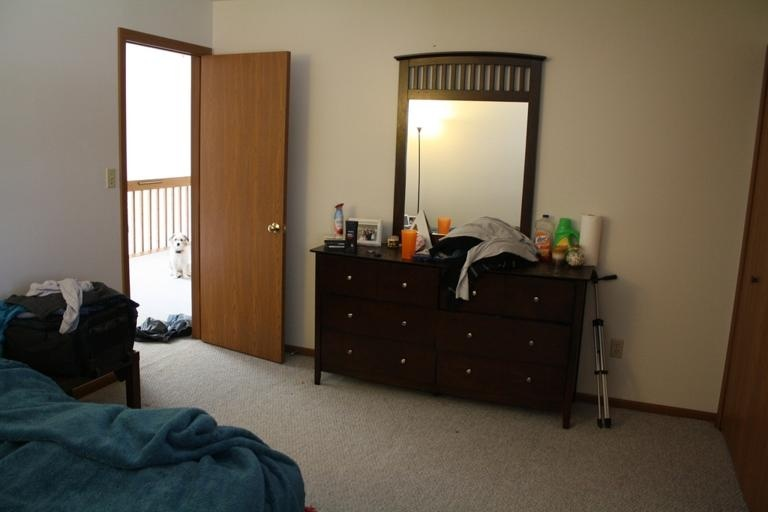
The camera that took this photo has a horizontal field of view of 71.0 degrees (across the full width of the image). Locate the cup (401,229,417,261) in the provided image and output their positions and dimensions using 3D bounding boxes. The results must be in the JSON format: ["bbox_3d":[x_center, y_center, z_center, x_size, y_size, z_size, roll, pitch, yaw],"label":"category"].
[{"bbox_3d":[0.190,-0.085,4.188,0.114,0.224,0.121,1,8,0],"label":"cup"}]

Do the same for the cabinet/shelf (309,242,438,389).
[{"bbox_3d":[-0.058,0.468,4.263,1.027,1.065,0.442,4,7,22],"label":"cabinet/shelf"}]

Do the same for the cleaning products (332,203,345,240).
[{"bbox_3d":[-0.393,-0.307,4.614,0.098,0.272,0.301,0,9,-6],"label":"cleaning products"}]

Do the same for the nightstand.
[{"bbox_3d":[-2.042,0.812,3.805,0.466,0.471,0.360,7,13,36],"label":"nightstand"}]

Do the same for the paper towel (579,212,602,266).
[{"bbox_3d":[1.595,-0.119,4.177,0.169,0.389,0.118,4,9,22],"label":"paper towel"}]

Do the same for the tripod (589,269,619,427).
[{"bbox_3d":[1.682,0.683,4.081,0.108,1.237,0.303,3,-11,-16],"label":"tripod"}]

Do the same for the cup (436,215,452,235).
[{"bbox_3d":[0.466,-0.254,4.405,0.129,0.206,0.126,3,2,0],"label":"cup"}]

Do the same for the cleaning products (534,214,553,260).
[{"bbox_3d":[1.259,-0.155,4.240,0.140,0.331,0.136,3,9,17],"label":"cleaning products"}]

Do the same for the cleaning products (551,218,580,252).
[{"bbox_3d":[1.428,-0.177,4.219,0.266,0.286,0.163,13,11,35],"label":"cleaning products"}]

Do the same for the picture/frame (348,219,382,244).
[{"bbox_3d":[-0.163,-0.196,4.490,0.189,0.148,0.027,2,-2,17],"label":"picture/frame"}]

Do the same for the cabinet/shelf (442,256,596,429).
[{"bbox_3d":[1.012,0.662,4.342,1.152,1.195,0.762,5,7,23],"label":"cabinet/shelf"}]

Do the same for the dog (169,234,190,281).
[{"bbox_3d":[-2.606,0.003,6.857,0.236,0.577,0.223,-3,9,-22],"label":"dog"}]
